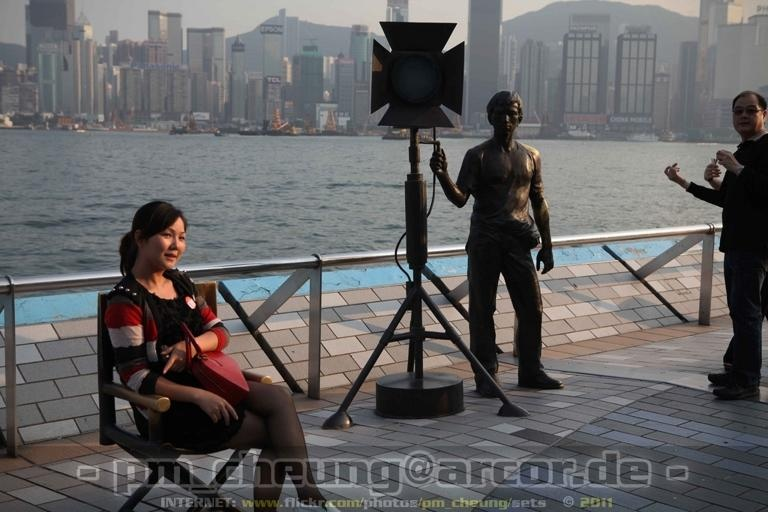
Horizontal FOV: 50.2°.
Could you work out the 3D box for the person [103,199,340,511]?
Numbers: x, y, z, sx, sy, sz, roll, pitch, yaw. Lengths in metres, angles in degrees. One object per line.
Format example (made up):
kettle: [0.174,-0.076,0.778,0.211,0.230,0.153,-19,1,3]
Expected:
person: [-0.896,0.499,4.252,1.018,1.550,0.553,-1,10,0]

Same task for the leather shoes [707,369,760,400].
leather shoes: [2.610,0.935,5.946,0.507,0.188,0.171,4,3,-8]

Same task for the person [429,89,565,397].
person: [0.940,-0.119,6.203,0.801,2.254,0.531,0,10,6]
